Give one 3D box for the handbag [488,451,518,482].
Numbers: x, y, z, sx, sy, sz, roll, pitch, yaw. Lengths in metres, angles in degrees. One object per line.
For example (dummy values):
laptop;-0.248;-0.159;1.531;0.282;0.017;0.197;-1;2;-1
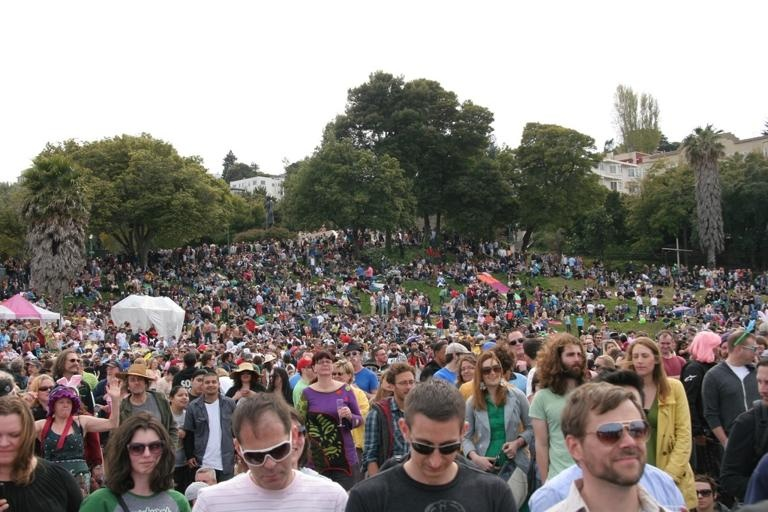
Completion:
handbag;5.379;9.004;55.688;1.131;1.223;0.314;1;10;-1
